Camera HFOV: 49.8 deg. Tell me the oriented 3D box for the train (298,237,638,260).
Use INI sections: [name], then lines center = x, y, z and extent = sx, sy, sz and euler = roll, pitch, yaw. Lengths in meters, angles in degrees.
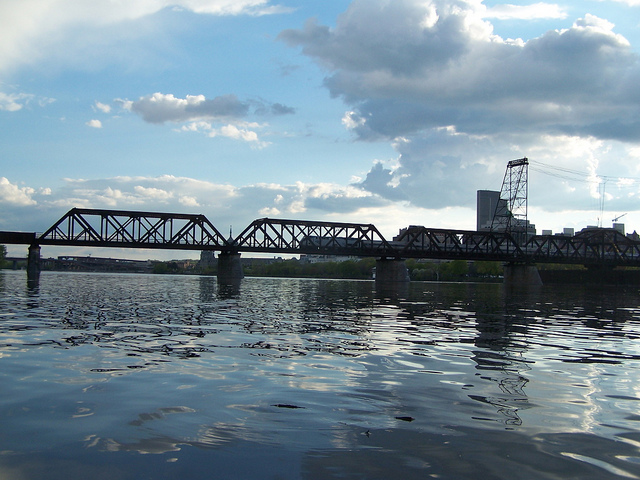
[train]
center = 26.408, 1.573, 124.131
extent = 64.408, 2.452, 11.528
euler = 0, 0, -27
